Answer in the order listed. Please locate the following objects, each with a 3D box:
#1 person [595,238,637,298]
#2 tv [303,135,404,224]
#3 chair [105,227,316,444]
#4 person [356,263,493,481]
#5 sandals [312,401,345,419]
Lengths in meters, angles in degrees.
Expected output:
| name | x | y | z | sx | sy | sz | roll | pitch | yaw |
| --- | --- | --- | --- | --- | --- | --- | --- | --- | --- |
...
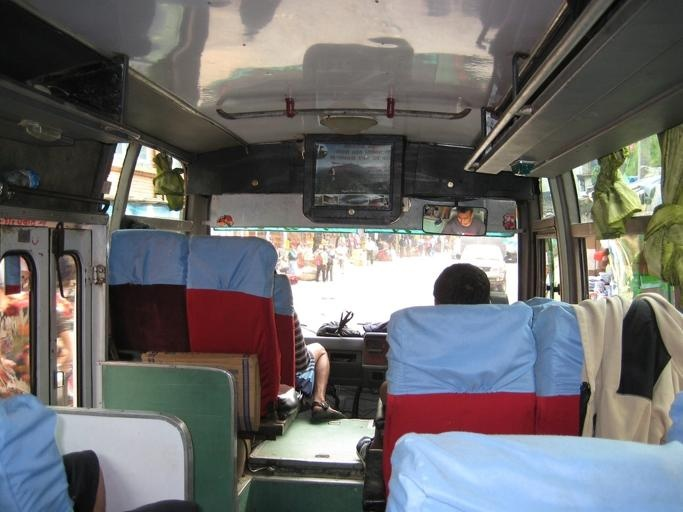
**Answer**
| name | x | y | z | sx | sy | sz | roll | pitch | yaw |
| --- | --- | --- | --- | --- | --- | --- | --- | --- | --- |
| person | 2.030 | 0.086 | 4.038 | 0.150 | 0.428 | 0.748 | 1 | -4 | 16 |
| tv | 0.112 | -0.706 | 4.825 | 0.707 | 0.698 | 0.105 | 2 | 5 | 2 |
| chair | -0.798 | 0.640 | 4.097 | 1.548 | 1.602 | 1.284 | 0 | -2 | 14 |
| person | 0.540 | 0.606 | 3.522 | 0.922 | 1.444 | 1.127 | 0 | -5 | -3 |
| sandals | -0.124 | 1.253 | 4.320 | 0.279 | 0.118 | 0.114 | 21 | -57 | -28 |
